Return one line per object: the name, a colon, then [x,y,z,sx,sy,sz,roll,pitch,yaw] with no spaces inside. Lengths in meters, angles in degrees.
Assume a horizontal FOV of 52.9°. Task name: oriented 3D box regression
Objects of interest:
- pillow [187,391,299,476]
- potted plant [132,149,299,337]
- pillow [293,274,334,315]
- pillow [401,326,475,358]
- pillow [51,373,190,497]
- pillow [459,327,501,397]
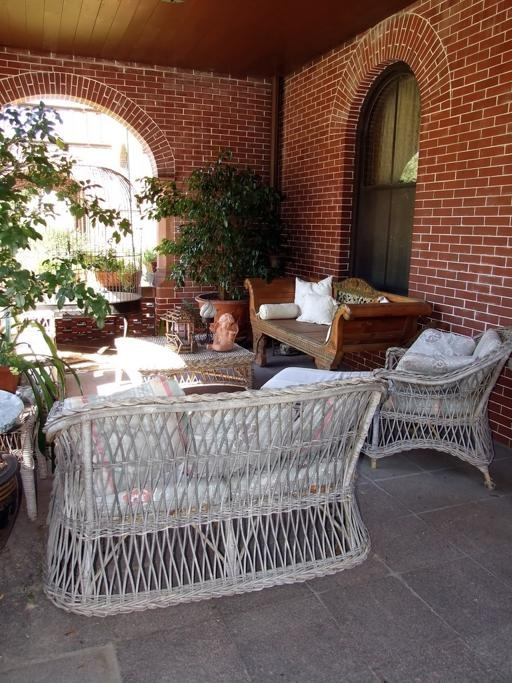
pillow: [-0.051,0.293,1.609,0.325,0.256,0.077,-1,17,-25]
potted plant: [-0.417,-1.314,5.864,1.599,1.659,0.966,2,8,4]
pillow: [0.576,-0.460,5.177,0.410,0.409,0.168,12,14,35]
pillow: [1.141,0.016,3.149,0.224,0.071,0.237,9,23,25]
pillow: [-0.387,0.263,1.560,0.394,0.172,0.324,-4,10,-17]
pillow: [1.252,0.105,2.852,0.181,0.315,0.514,5,8,26]
